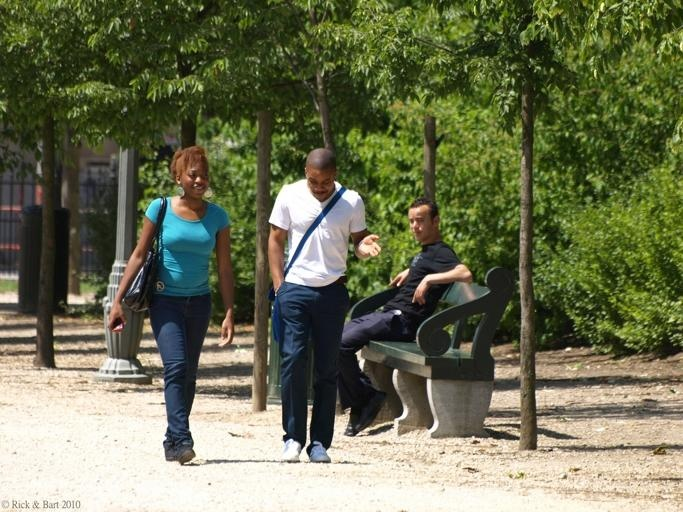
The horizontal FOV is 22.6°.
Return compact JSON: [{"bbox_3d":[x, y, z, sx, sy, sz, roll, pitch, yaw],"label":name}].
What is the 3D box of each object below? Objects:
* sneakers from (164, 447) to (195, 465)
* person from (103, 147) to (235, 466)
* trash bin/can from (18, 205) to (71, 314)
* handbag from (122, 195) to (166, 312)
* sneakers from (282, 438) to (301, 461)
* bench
[{"bbox_3d":[-1.565,1.977,16.510,0.122,0.187,0.377,0,0,-29],"label":"sneakers"},{"bbox_3d":[-1.616,0.490,16.641,1.116,3.133,0.486,2,-1,-5],"label":"person"},{"bbox_3d":[-4.706,0.088,27.137,0.764,1.158,0.525,2,-1,-13],"label":"trash bin/can"},{"bbox_3d":[-1.903,-0.010,16.623,0.396,1.118,0.225,2,-1,-10],"label":"handbag"},{"bbox_3d":[-0.493,1.943,16.662,0.131,0.108,0.245,5,38,-8],"label":"sneakers"},{"bbox_3d":[0.966,1.120,18.167,0.654,1.170,1.603,5,-4,-19],"label":"bench"}]
